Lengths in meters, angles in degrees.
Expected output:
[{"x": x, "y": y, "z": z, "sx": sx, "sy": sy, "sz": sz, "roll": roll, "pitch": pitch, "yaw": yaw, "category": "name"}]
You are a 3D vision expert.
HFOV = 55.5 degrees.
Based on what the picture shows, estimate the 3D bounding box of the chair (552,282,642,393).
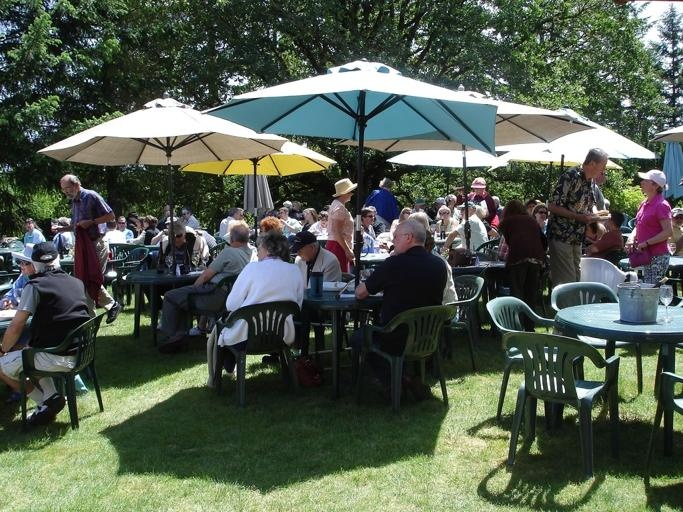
[{"x": 2.326, "y": 0.750, "z": 5.946, "sx": 0.741, "sy": 1.079, "sz": 0.801, "roll": -1, "pitch": -8, "yaw": 21, "category": "chair"}]

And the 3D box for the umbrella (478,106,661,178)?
[{"x": 3.151, "y": -1.583, "z": 9.323, "sx": 1.648, "sy": 0.772, "sz": 1.674, "roll": -3, "pitch": 11, "yaw": -32, "category": "umbrella"}]

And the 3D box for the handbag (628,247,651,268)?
[{"x": 3.683, "y": 0.012, "z": 7.944, "sx": 0.105, "sy": 0.208, "sz": 0.186, "roll": 10, "pitch": -17, "yaw": -31, "category": "handbag"}]

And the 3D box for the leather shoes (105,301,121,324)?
[{"x": -3.354, "y": 0.827, "z": 9.482, "sx": 0.125, "sy": 0.371, "sz": 0.157, "roll": 23, "pitch": 7, "yaw": 36, "category": "leather shoes"}]

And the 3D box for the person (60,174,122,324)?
[{"x": -3.418, "y": -0.044, "z": 8.724, "sx": 0.866, "sy": 2.055, "sz": 0.872, "roll": -3, "pitch": 8, "yaw": -38, "category": "person"}]

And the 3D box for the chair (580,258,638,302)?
[{"x": 3.033, "y": 0.250, "z": 7.440, "sx": 0.498, "sy": 0.718, "sz": 0.494, "roll": 1, "pitch": -4, "yaw": -14, "category": "chair"}]

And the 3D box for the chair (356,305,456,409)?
[{"x": 0.631, "y": 0.879, "z": 6.307, "sx": 0.882, "sy": 1.090, "sz": 0.936, "roll": 6, "pitch": 15, "yaw": 20, "category": "chair"}]

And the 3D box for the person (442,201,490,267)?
[{"x": 1.932, "y": -0.421, "z": 10.223, "sx": 0.664, "sy": 1.197, "sz": 0.696, "roll": -9, "pitch": 31, "yaw": 10, "category": "person"}]

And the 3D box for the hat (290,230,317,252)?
[{"x": -0.391, "y": -0.143, "z": 6.989, "sx": 0.284, "sy": 0.172, "sz": 0.204, "roll": -9, "pitch": 10, "yaw": -15, "category": "hat"}]

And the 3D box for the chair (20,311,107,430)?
[{"x": -2.593, "y": 1.026, "z": 6.063, "sx": 0.653, "sy": 0.990, "sz": 0.707, "roll": 3, "pitch": 8, "yaw": 9, "category": "chair"}]

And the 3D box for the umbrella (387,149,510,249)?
[{"x": 2.211, "y": -1.454, "z": 11.618, "sx": 2.137, "sy": 1.559, "sz": 2.087, "roll": -18, "pitch": 18, "yaw": -37, "category": "umbrella"}]

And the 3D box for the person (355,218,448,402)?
[{"x": 0.573, "y": 0.561, "z": 6.077, "sx": 0.864, "sy": 1.769, "sz": 0.542, "roll": -1, "pitch": 10, "yaw": 2, "category": "person"}]

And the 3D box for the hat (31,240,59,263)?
[{"x": -2.698, "y": -0.028, "z": 5.870, "sx": 0.220, "sy": 0.190, "sz": 0.191, "roll": -7, "pitch": 11, "yaw": -27, "category": "hat"}]

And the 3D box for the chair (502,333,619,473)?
[{"x": 1.786, "y": 1.095, "z": 5.224, "sx": 0.756, "sy": 1.154, "sz": 0.784, "roll": 3, "pitch": 11, "yaw": 40, "category": "chair"}]

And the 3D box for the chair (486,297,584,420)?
[{"x": 1.695, "y": 0.914, "z": 5.719, "sx": 0.568, "sy": 0.864, "sz": 0.596, "roll": -18, "pitch": 16, "yaw": -37, "category": "chair"}]

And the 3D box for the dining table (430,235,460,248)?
[{"x": 1.566, "y": -0.211, "z": 9.613, "sx": 0.283, "sy": 0.328, "sz": 0.287, "roll": 0, "pitch": 1, "yaw": -10, "category": "dining table"}]

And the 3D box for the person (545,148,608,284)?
[{"x": 2.773, "y": -0.431, "z": 7.568, "sx": 0.639, "sy": 1.625, "sz": 0.625, "roll": 0, "pitch": 10, "yaw": 7, "category": "person"}]

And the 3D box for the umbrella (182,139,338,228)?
[{"x": -1.681, "y": -1.640, "z": 14.969, "sx": 3.035, "sy": 2.297, "sz": 3.075, "roll": -2, "pitch": -6, "yaw": -1, "category": "umbrella"}]

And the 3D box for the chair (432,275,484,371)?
[{"x": 1.277, "y": 0.713, "z": 7.423, "sx": 0.709, "sy": 0.898, "sz": 0.712, "roll": 9, "pitch": 17, "yaw": 43, "category": "chair"}]

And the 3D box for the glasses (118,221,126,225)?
[{"x": -5.009, "y": -0.761, "z": 14.740, "sx": 0.106, "sy": 0.078, "sz": 0.143, "roll": -1, "pitch": -2, "yaw": -14, "category": "glasses"}]

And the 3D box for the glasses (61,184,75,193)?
[{"x": -3.494, "y": -0.863, "z": 8.267, "sx": 0.096, "sy": 0.137, "sz": 0.134, "roll": 2, "pitch": -2, "yaw": -2, "category": "glasses"}]

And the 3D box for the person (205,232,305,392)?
[{"x": -0.889, "y": 0.578, "z": 6.413, "sx": 1.034, "sy": 1.604, "sz": 0.606, "roll": 3, "pitch": 11, "yaw": 24, "category": "person"}]

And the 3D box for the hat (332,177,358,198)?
[{"x": 0.037, "y": -0.981, "z": 9.383, "sx": 0.309, "sy": 0.128, "sz": 0.344, "roll": -32, "pitch": 12, "yaw": -19, "category": "hat"}]

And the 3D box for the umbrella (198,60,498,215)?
[{"x": 0.175, "y": -1.258, "z": 6.732, "sx": 2.778, "sy": 1.479, "sz": 2.150, "roll": 1, "pitch": 10, "yaw": 14, "category": "umbrella"}]

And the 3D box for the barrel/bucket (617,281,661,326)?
[{"x": 2.399, "y": 0.370, "z": 5.202, "sx": 0.298, "sy": 0.314, "sz": 0.346, "roll": 0, "pitch": 8, "yaw": 40, "category": "barrel/bucket"}]

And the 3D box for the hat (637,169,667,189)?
[{"x": 3.846, "y": -0.940, "z": 7.943, "sx": 0.292, "sy": 0.244, "sz": 0.455, "roll": 4, "pitch": 11, "yaw": 29, "category": "hat"}]

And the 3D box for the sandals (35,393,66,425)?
[{"x": -2.672, "y": 1.402, "z": 5.968, "sx": 0.131, "sy": 0.369, "sz": 0.146, "roll": 23, "pitch": 23, "yaw": -54, "category": "sandals"}]

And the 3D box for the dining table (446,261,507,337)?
[{"x": 2.010, "y": 0.568, "z": 8.688, "sx": 0.857, "sy": 1.204, "sz": 0.904, "roll": 0, "pitch": -3, "yaw": -11, "category": "dining table"}]
